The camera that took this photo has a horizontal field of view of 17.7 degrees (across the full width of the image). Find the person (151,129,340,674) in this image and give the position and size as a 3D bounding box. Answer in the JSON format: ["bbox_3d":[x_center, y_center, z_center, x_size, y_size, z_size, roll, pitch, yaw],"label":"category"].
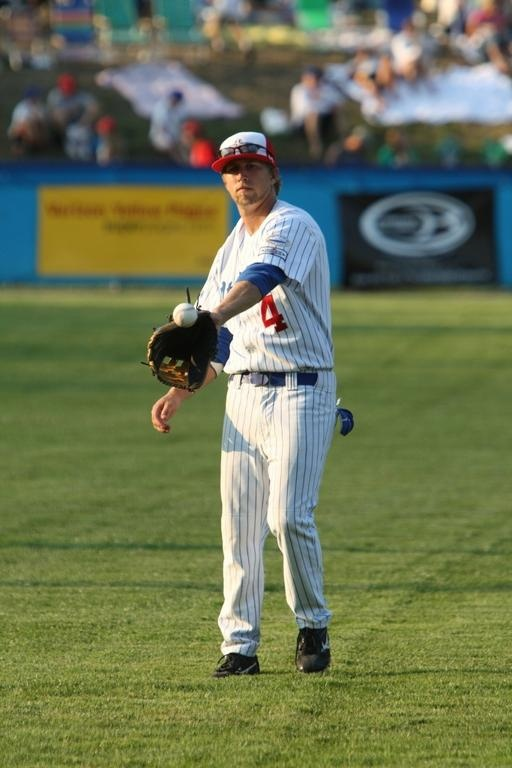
[{"bbox_3d":[-0.005,0.100,7.079,0.702,2.148,1.154,-1,24,3],"label":"person"}]

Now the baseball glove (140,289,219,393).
[{"bbox_3d":[-0.276,-0.193,6.757,0.248,0.351,0.264,10,40,5],"label":"baseball glove"}]

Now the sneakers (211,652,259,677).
[{"bbox_3d":[-0.070,1.183,6.985,0.231,0.098,0.078,0,-1,-6],"label":"sneakers"}]

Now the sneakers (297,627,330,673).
[{"bbox_3d":[0.244,1.126,7.021,0.142,0.161,0.162,-1,24,3],"label":"sneakers"}]
